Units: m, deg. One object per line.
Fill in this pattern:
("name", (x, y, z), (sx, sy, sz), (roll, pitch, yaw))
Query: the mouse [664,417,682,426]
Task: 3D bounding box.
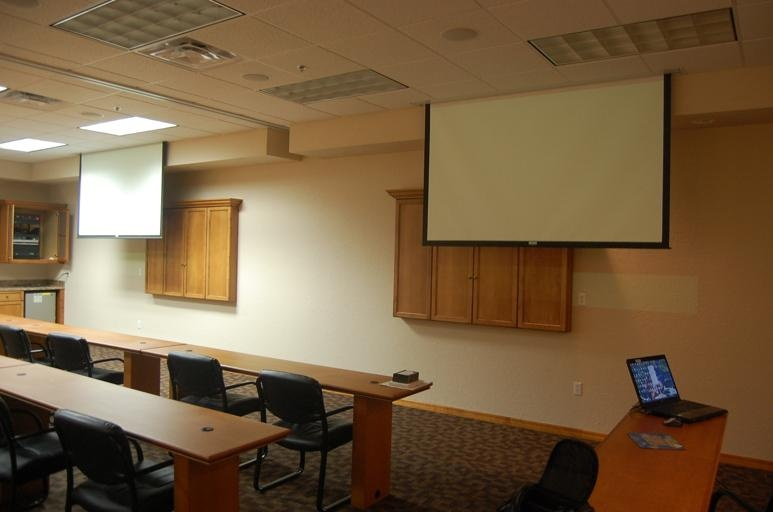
("mouse", (2.353, 1.360, 4.338), (0.106, 0.035, 0.061), (0, -1, 8))
